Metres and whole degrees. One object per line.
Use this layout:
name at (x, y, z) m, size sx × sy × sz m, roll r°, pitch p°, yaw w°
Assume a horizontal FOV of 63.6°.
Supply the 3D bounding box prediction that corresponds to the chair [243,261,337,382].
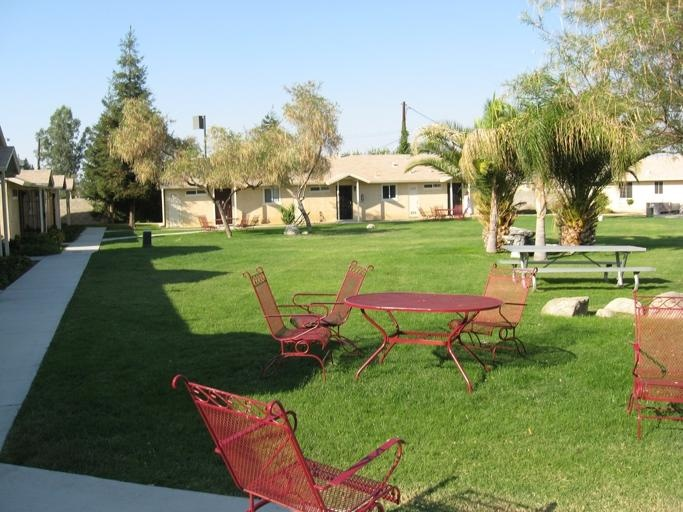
chair at (-0.692, 0.781, 7.261) m, size 1.165 × 1.804 × 1.183 m, roll -3°, pitch 1°, yaw 2°

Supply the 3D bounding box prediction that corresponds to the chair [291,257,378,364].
chair at (-0.174, 0.737, 8.214) m, size 1.323 × 1.813 × 1.107 m, roll 1°, pitch 3°, yaw -9°
